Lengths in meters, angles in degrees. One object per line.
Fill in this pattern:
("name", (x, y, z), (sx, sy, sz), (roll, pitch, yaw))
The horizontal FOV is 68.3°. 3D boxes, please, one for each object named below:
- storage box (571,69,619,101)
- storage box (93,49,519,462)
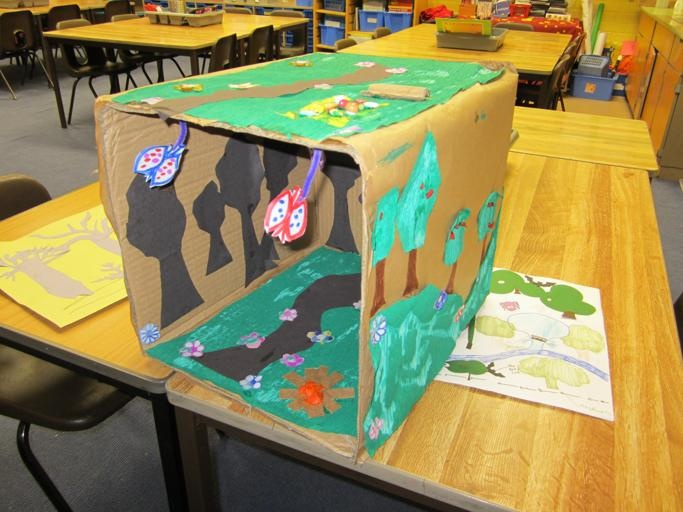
("storage box", (2.725, -1.850, 5.434), (0.416, 0.204, 0.283), (10, 36, 20))
("storage box", (-0.053, -0.071, 1.019), (0.781, 0.479, 0.778), (-18, 27, -30))
